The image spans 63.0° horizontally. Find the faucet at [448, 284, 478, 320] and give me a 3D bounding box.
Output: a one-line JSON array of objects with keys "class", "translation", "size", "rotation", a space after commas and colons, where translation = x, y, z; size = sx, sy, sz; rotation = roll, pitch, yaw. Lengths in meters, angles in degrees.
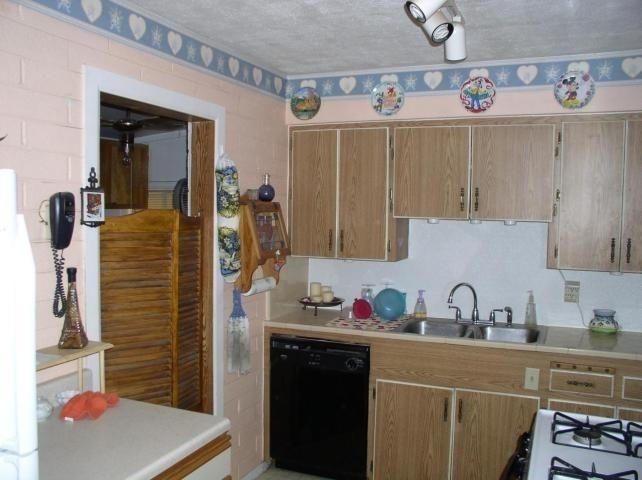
[{"class": "faucet", "translation": [1.060, 0.455, 3.898], "size": [0.241, 0.306, 0.380], "rotation": [1, 3, 13]}]

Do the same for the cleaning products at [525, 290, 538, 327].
[{"class": "cleaning products", "translation": [1.537, 0.497, 3.848], "size": [0.086, 0.250, 0.148], "rotation": [1, 3, 22]}]

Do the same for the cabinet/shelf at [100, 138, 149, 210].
[{"class": "cabinet/shelf", "translation": [-2.281, -0.804, 5.925], "size": [0.467, 0.828, 0.444], "rotation": [0, 26, -23]}]

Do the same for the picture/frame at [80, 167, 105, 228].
[{"class": "picture/frame", "translation": [-1.123, -0.213, 2.584], "size": [0.074, 0.298, 0.146], "rotation": [0, 2, 7]}]

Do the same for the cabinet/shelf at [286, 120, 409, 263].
[{"class": "cabinet/shelf", "translation": [0.223, -0.382, 3.982], "size": [1.068, 1.281, 0.487], "rotation": [1, 2, 20]}]

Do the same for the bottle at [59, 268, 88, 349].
[{"class": "bottle", "translation": [-1.138, 0.302, 2.394], "size": [0.144, 0.366, 0.113], "rotation": [2, 3, 41]}]

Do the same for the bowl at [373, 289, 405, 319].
[{"class": "bowl", "translation": [0.541, 0.476, 4.003], "size": [0.225, 0.213, 0.146], "rotation": [-22, -4, 20]}]

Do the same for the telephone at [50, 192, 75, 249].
[{"class": "telephone", "translation": [-1.179, -0.089, 2.386], "size": [0.104, 0.266, 0.132], "rotation": [-1, 3, -26]}]

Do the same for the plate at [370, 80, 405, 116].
[{"class": "plate", "translation": [0.507, -1.075, 3.935], "size": [0.274, 0.278, 0.038], "rotation": [2, 9, 16]}]

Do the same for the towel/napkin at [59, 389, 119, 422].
[{"class": "towel/napkin", "translation": [-0.974, 0.674, 2.213], "size": [0.121, 0.041, 0.123], "rotation": [6, 12, 16]}]

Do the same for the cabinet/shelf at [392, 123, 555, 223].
[{"class": "cabinet/shelf", "translation": [1.120, -0.506, 3.878], "size": [1.114, 0.695, 0.373], "rotation": [3, 11, 22]}]

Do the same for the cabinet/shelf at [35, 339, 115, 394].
[{"class": "cabinet/shelf", "translation": [-1.123, 0.534, 2.357], "size": [0.220, 0.293, 0.308], "rotation": [1, 1, 33]}]

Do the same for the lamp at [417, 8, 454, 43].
[{"class": "lamp", "translation": [0.558, -0.997, 2.459], "size": [0.106, 0.150, 0.175], "rotation": [-6, 48, -18]}]

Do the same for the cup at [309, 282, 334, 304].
[{"class": "cup", "translation": [-0.005, 0.418, 4.182], "size": [0.197, 0.141, 0.114], "rotation": [-1, -1, 21]}]

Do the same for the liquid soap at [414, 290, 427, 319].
[{"class": "liquid soap", "translation": [0.778, 0.489, 4.094], "size": [0.098, 0.213, 0.183], "rotation": [1, 2, 10]}]
